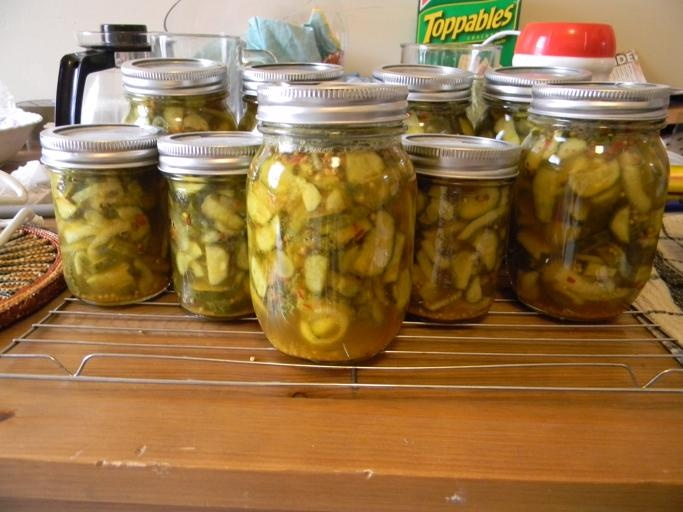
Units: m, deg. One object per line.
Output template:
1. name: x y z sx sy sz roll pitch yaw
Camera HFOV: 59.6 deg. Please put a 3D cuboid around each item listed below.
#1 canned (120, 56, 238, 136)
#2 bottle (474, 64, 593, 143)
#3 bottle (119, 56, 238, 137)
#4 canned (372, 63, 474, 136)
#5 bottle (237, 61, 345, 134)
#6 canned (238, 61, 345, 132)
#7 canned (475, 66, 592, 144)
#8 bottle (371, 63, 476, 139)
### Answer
1. canned: -0.220 -0.223 0.884 0.146 0.103 0.141 7 20 16
2. bottle: 0.272 -0.220 0.924 0.154 0.131 0.142 -6 17 -21
3. bottle: -0.246 -0.226 0.905 0.165 0.122 0.159 3 26 -1
4. canned: 0.121 -0.223 0.914 0.152 0.121 0.141 0 25 3
5. bottle: -0.076 -0.216 0.880 0.141 0.111 0.134 1 17 0
6. canned: -0.062 -0.216 0.886 0.140 0.112 0.135 -7 17 -28
7. canned: 0.280 -0.221 0.941 0.155 0.132 0.145 -8 18 -27
8. bottle: 0.117 -0.212 0.886 0.153 0.121 0.141 -1 25 0
